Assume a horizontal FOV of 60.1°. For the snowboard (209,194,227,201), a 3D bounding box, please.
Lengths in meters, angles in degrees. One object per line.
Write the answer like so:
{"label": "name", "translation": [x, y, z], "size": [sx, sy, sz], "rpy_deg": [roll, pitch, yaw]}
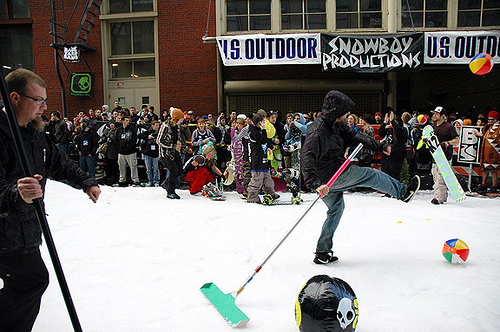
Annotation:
{"label": "snowboard", "translation": [-0.813, 0.812, 11.099], "size": [0.471, 0.120, 0.375], "rpy_deg": [-2, 5, -20]}

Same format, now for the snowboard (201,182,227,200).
{"label": "snowboard", "translation": [-0.931, 0.656, 11.234], "size": [0.736, 0.394, 0.275], "rpy_deg": [15, 16, 28]}

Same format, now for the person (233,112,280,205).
{"label": "person", "translation": [0.205, -0.208, 10.810], "size": [1.030, 2.197, 1.113], "rpy_deg": [0, 5, -1]}

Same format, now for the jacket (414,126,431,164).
{"label": "jacket", "translation": [4.736, -0.528, 12.008], "size": [0.138, 1.101, 0.275], "rpy_deg": [12, -28, -31]}

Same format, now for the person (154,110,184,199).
{"label": "person", "translation": [-2.145, -0.331, 11.467], "size": [0.635, 2.283, 0.827], "rpy_deg": [2, 5, 21]}

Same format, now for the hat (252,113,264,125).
{"label": "hat", "translation": [0.174, -1.156, 10.900], "size": [0.238, 0.259, 0.176], "rpy_deg": [-3, 5, -30]}

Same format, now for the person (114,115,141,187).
{"label": "person", "translation": [-3.775, -0.440, 13.253], "size": [0.696, 2.087, 0.548], "rpy_deg": [-1, 5, -11]}

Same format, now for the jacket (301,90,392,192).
{"label": "jacket", "translation": [1.306, -0.413, 6.709], "size": [1.290, 1.457, 0.512], "rpy_deg": [-3, 6, -36]}

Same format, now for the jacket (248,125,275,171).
{"label": "jacket", "translation": [0.294, -0.409, 11.371], "size": [0.815, 1.550, 0.979], "rpy_deg": [-5, -4, 3]}

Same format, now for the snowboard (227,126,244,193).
{"label": "snowboard", "translation": [-0.449, -0.229, 11.807], "size": [0.557, 2.027, 0.579], "rpy_deg": [-1, 7, -23]}

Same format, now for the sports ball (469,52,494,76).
{"label": "sports ball", "translation": [5.762, -2.536, 10.812], "size": [0.485, 0.480, 0.328], "rpy_deg": [2, 5, 20]}

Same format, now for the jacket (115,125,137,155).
{"label": "jacket", "translation": [-3.833, -0.774, 13.141], "size": [0.704, 0.896, 0.369], "rpy_deg": [1, 5, 16]}

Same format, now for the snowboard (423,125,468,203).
{"label": "snowboard", "translation": [4.723, -0.043, 10.572], "size": [0.293, 2.216, 0.286], "rpy_deg": [-24, -44, 28]}

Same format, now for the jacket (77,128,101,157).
{"label": "jacket", "translation": [-4.989, -0.695, 13.336], "size": [0.734, 0.991, 0.497], "rpy_deg": [3, -2, 7]}

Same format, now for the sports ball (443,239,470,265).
{"label": "sports ball", "translation": [3.066, 1.303, 6.583], "size": [0.336, 0.117, 0.367], "rpy_deg": [28, 35, -22]}

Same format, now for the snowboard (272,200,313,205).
{"label": "snowboard", "translation": [1.001, 0.895, 10.555], "size": [0.975, 0.052, 0.430], "rpy_deg": [-1, 5, -11]}

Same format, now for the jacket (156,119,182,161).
{"label": "jacket", "translation": [-2.244, -0.629, 11.508], "size": [0.517, 0.988, 0.462], "rpy_deg": [-1, 5, -13]}

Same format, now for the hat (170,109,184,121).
{"label": "hat", "translation": [-1.986, -1.338, 11.597], "size": [0.294, 0.212, 0.214], "rpy_deg": [-10, 8, 5]}

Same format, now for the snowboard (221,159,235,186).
{"label": "snowboard", "translation": [-0.600, 0.194, 12.394], "size": [0.205, 0.624, 0.450], "rpy_deg": [12, 39, -27]}

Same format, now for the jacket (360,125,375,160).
{"label": "jacket", "translation": [2.579, -0.497, 9.581], "size": [0.492, 0.765, 0.265], "rpy_deg": [3, -26, 11]}

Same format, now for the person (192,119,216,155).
{"label": "person", "translation": [-1.385, -0.577, 12.418], "size": [0.626, 1.589, 0.498], "rpy_deg": [-6, 24, -22]}
